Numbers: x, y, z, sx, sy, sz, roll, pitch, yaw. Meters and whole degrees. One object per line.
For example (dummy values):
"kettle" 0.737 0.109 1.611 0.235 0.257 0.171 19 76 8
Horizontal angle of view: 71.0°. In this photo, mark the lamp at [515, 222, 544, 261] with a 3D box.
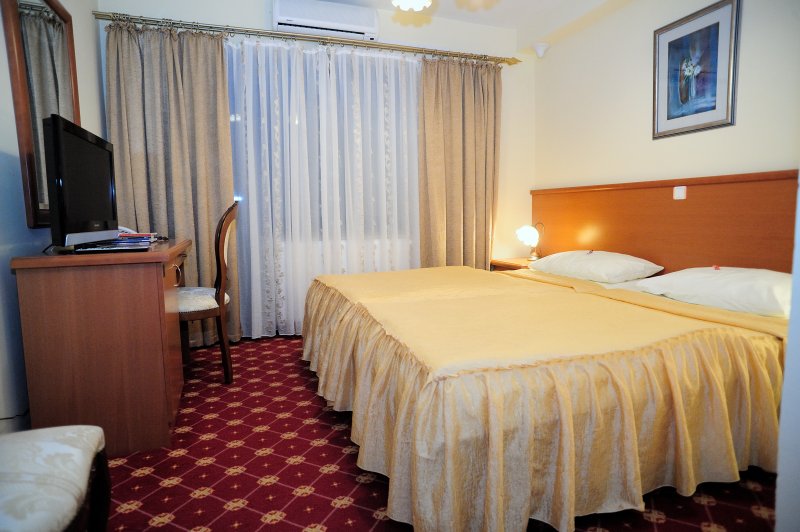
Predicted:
"lamp" 1.250 -0.227 5.574 0.261 0.389 0.252 1 -5 -28

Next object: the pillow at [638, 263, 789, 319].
"pillow" 1.948 0.151 3.489 0.802 0.212 0.236 6 11 40
